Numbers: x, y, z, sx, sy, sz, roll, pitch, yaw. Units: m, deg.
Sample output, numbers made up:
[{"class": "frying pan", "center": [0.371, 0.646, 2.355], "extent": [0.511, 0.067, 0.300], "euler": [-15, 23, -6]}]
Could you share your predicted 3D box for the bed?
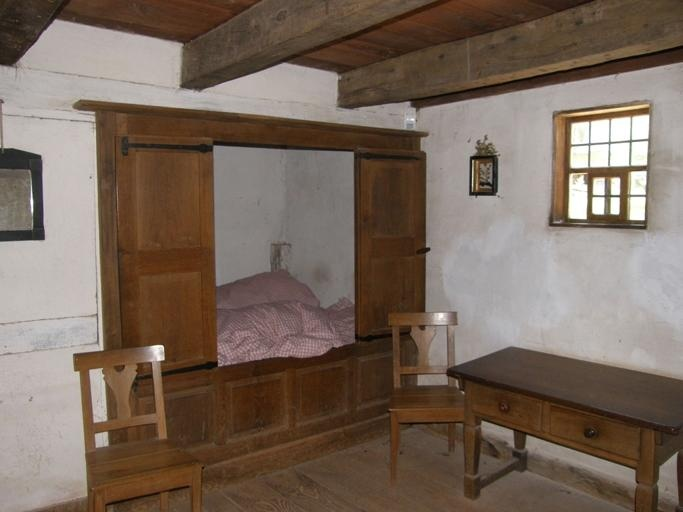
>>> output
[{"class": "bed", "center": [-0.740, 0.341, 4.757], "extent": [3.292, 2.926, 0.935], "euler": [-4, 5, -39]}]

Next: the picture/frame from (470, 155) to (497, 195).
[{"class": "picture/frame", "center": [1.279, -0.729, 5.088], "extent": [0.344, 0.443, 0.072], "euler": [5, 6, 43]}]
